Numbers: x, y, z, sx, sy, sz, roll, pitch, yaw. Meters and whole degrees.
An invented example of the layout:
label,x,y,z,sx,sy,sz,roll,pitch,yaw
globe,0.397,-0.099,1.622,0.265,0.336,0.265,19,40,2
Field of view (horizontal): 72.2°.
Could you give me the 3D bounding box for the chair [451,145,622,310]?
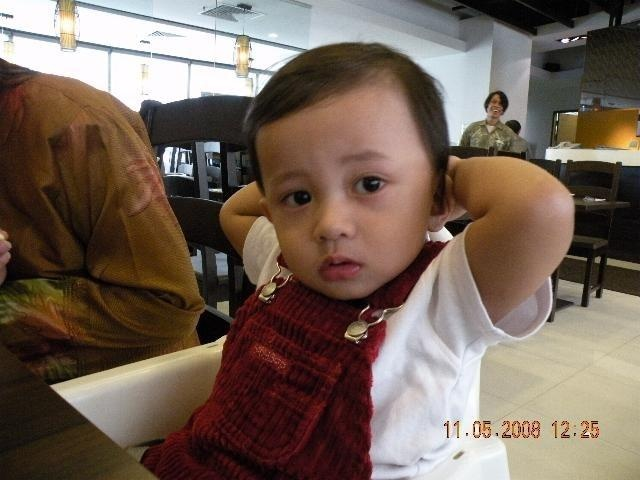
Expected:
label,x,y,z,sx,sy,sz,roll,pitch,yaw
chair,0.267,-0.027,0.685,0.108,0.202,0.214,-3,11,-29
